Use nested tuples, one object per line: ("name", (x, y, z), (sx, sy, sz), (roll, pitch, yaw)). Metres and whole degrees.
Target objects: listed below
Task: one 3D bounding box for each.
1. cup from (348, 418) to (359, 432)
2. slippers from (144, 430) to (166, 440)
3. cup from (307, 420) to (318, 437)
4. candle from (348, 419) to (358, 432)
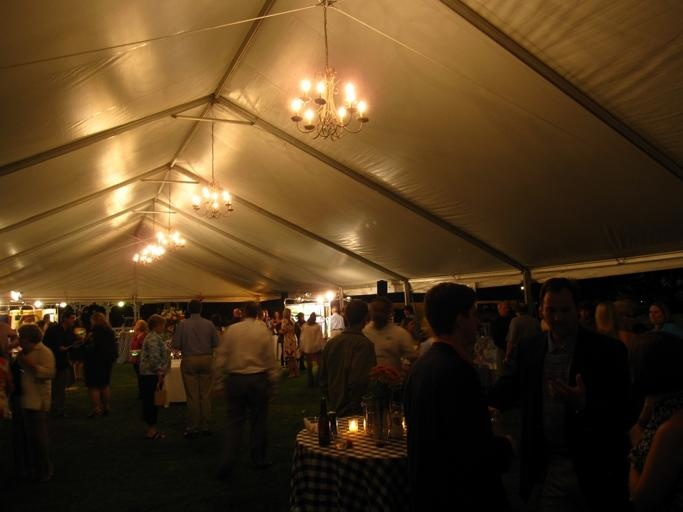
("cup", (0.101, 1.515, 5.019), (0.062, 0.130, 0.066), (6, -16, 2))
("slippers", (-2.754, 2.618, 8.213), (0.351, 0.117, 0.126), (9, 9, -8))
("cup", (-0.270, 1.488, 4.915), (0.102, 0.078, 0.089), (2, -18, 3))
("candle", (0.101, 1.491, 4.993), (0.060, 0.068, 0.117), (0, -8, -3))
